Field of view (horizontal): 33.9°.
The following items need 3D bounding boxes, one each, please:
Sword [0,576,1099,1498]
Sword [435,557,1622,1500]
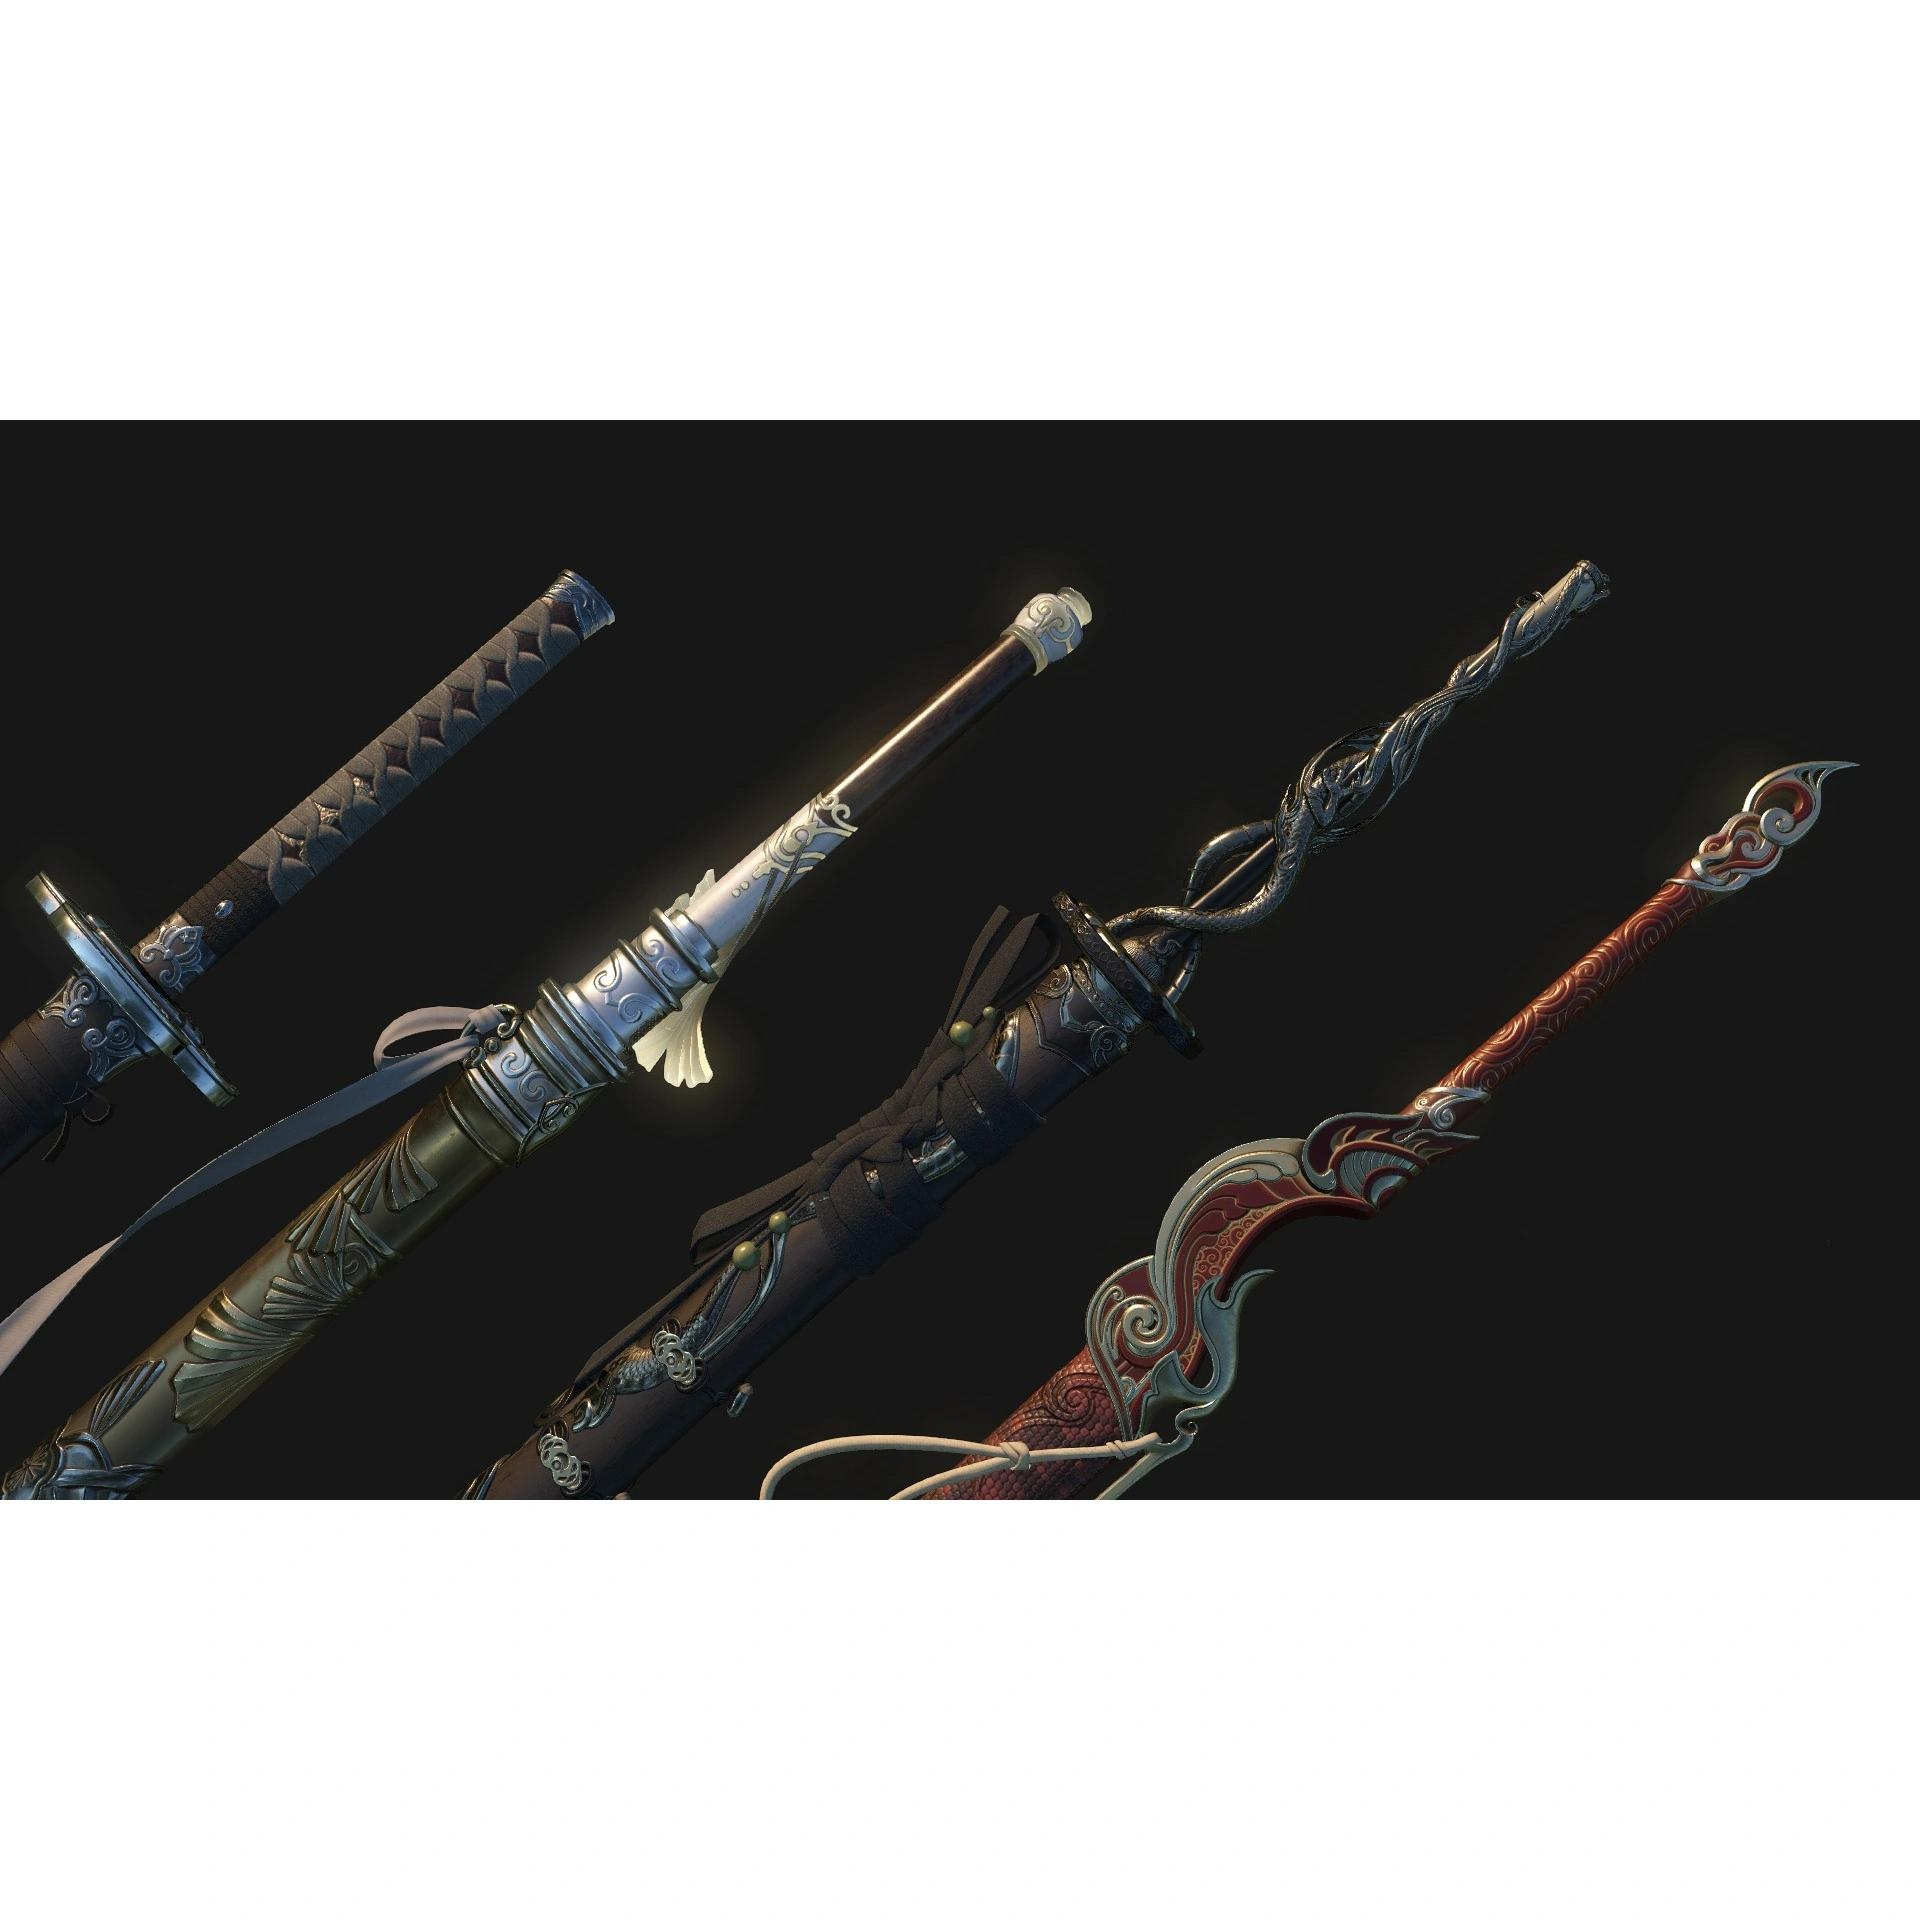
[{"bbox_3d":[-0.619,0.298,5.184,2.544,0.537,0.356,-30,-24,3],"label":"Sword"},{"bbox_3d":[0.010,0.255,5.195,2.853,0.343,0.452,-27,3,7],"label":"Sword"}]
